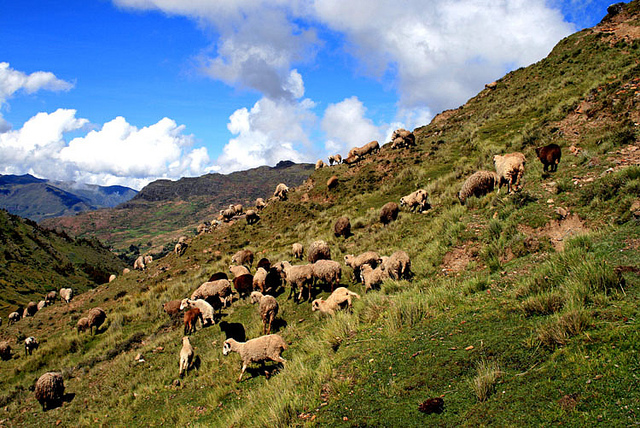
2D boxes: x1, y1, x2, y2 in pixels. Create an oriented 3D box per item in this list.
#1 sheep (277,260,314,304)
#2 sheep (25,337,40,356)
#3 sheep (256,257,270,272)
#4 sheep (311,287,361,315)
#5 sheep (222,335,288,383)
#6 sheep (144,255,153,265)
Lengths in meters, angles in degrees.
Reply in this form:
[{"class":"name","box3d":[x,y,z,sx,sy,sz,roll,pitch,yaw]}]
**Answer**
[{"class":"sheep","box3d":[-2.087,5.843,47.042,1.409,3.420,5.058,-2,0,-37]},{"class":"sheep","box3d":[-28.391,12.907,53.283,1.128,1.740,1.142,-20,-11,-23]},{"class":"sheep","box3d":[-5.279,4.798,51.388,1.153,1.691,0.990,-8,-46,12]},{"class":"sheep","box3d":[1.190,6.900,42.814,3.339,1.702,1.108,-28,-10,15]},{"class":"sheep","box3d":[-4.942,10.949,41.270,5.152,3.184,1.476,-9,-16,9]},{"class":"sheep","box3d":[-28.621,7.682,91.231,1.339,0.859,1.690,-1,2,-6]}]
